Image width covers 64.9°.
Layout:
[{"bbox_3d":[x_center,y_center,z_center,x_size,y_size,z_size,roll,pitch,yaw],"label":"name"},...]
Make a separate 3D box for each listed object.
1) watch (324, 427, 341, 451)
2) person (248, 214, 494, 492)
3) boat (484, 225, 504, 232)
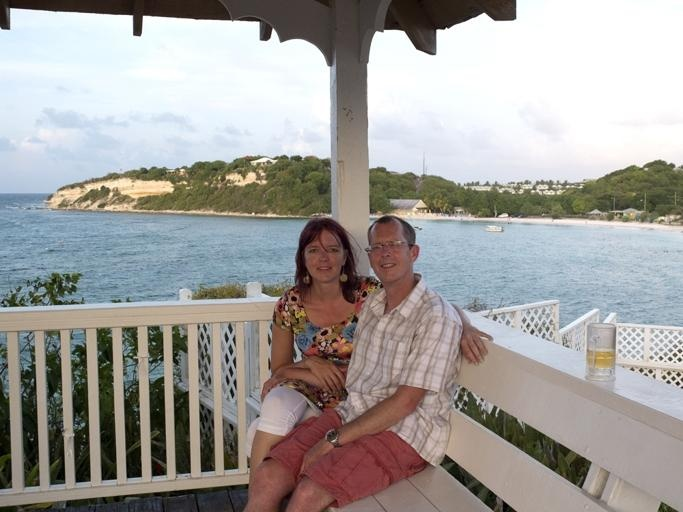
[{"bbox_3d":[-0.033,0.689,2.021,0.044,0.069,0.071,-15,38,7],"label":"watch"},{"bbox_3d":[-0.007,0.469,2.425,1.145,1.311,0.757,-1,-9,-23],"label":"person"},{"bbox_3d":[19.179,-3.262,68.320,1.373,0.754,2.085,-6,6,-44],"label":"boat"}]
